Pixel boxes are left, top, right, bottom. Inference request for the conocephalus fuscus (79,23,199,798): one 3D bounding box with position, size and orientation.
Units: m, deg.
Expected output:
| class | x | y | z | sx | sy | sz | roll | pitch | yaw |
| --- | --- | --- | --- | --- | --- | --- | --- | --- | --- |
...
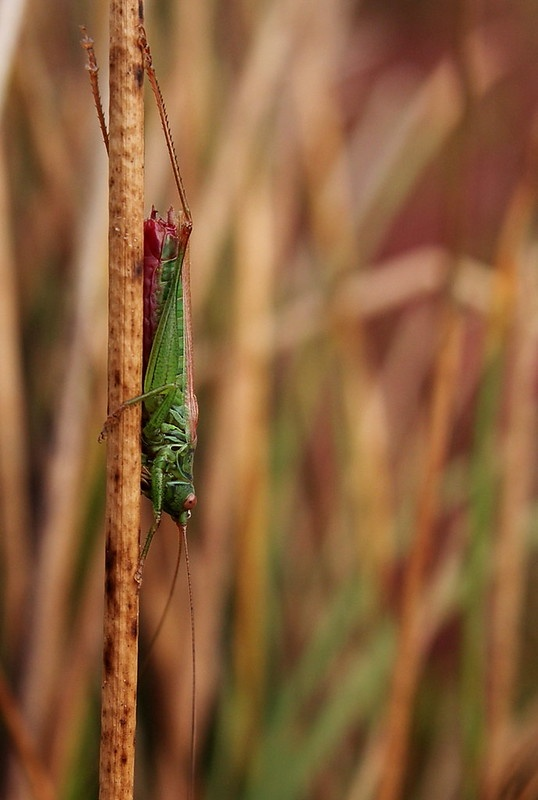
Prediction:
| class | x | y | z | sx | sy | sz | roll | pitch | yaw |
| --- | --- | --- | --- | --- | --- | --- | --- | --- | --- |
| conocephalus fuscus | -0.132 | 0.009 | 1.340 | 0.127 | 0.801 | 0.114 | 1 | 9 | 6 |
